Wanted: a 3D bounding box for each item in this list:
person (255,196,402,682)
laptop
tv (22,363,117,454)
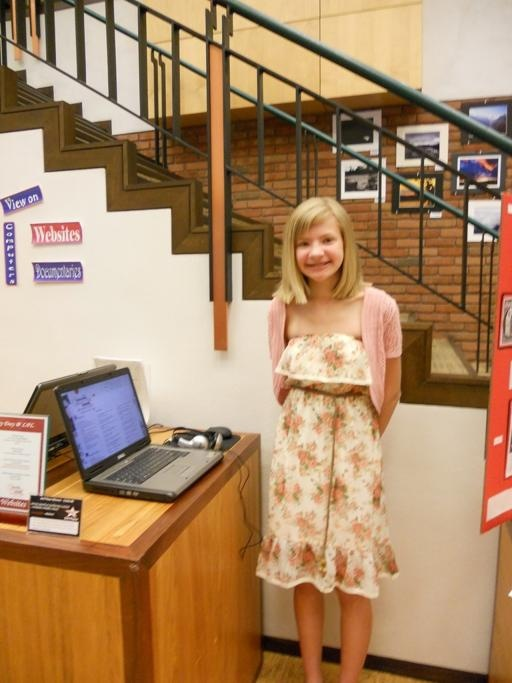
[{"bbox_3d":[0.203,0.304,1.692,0.404,1.392,0.314,1,12,15],"label":"person"},{"bbox_3d":[-0.309,0.255,1.542,0.233,0.332,0.349,-17,-5,19],"label":"laptop"},{"bbox_3d":[-0.527,0.185,1.610,0.203,0.197,0.299,12,11,18],"label":"tv"}]
